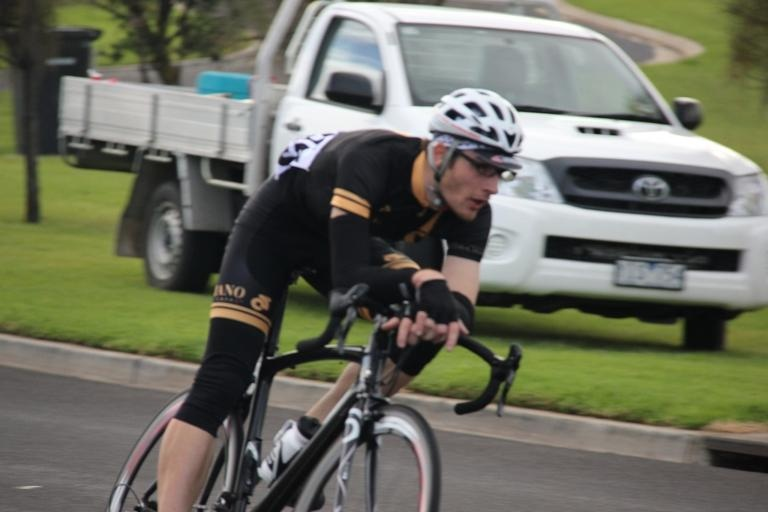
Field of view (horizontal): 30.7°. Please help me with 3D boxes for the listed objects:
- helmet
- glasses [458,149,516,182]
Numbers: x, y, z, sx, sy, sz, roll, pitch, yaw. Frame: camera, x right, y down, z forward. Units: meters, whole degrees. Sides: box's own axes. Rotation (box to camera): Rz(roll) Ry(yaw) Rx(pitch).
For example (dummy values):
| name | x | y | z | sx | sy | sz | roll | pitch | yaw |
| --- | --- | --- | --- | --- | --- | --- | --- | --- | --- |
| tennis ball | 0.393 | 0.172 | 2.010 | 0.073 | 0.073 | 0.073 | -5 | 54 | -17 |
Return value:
| name | x | y | z | sx | sy | sz | roll | pitch | yaw |
| --- | --- | --- | --- | --- | --- | --- | --- | --- | --- |
| helmet | 0.564 | -0.869 | 8.861 | 0.544 | 0.249 | 0.402 | 18 | 14 | 33 |
| glasses | 0.651 | -0.606 | 8.835 | 0.272 | 0.061 | 0.208 | 31 | 8 | 20 |
